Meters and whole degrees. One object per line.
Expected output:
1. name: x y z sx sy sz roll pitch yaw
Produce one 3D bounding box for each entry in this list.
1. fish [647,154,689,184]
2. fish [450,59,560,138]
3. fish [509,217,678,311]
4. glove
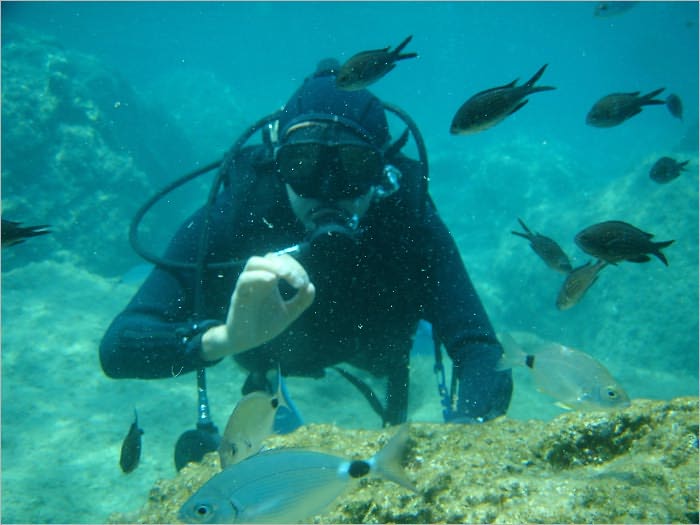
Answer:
1. fish: 5.292 -1.548 12.130 0.543 0.462 0.468 -5 10 24
2. fish: 2.044 -2.238 10.355 1.297 0.678 0.257 -6 9 16
3. fish: 3.666 -0.018 10.693 1.958 1.221 0.856 -5 10 22
4. glove: 2.023 1.848 10.944 0.586 1.213 0.687 4 13 -5
